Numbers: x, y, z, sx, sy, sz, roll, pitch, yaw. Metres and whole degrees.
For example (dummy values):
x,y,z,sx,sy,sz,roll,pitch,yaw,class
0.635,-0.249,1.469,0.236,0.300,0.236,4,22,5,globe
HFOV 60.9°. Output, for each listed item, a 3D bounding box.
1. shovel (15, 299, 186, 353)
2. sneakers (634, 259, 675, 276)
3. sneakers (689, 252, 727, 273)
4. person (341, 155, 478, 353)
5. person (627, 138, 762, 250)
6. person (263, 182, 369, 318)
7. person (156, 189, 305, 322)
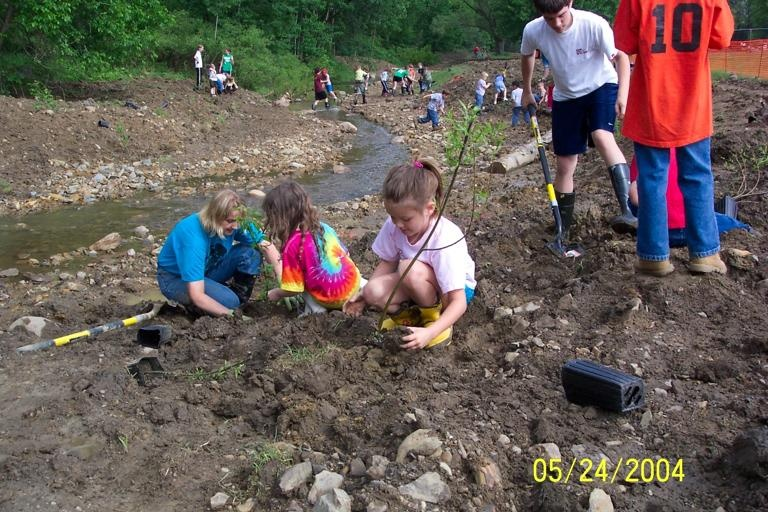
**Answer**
x,y,z,sx,sy,sz,roll,pitch,yaw,class
-2.616,0.667,6.060,1.417,0.163,0.158,-11,53,-45,shovel
2.243,0.090,5.411,0.129,0.131,0.276,-9,16,-24,sneakers
2.643,0.061,5.316,0.314,0.219,0.131,-7,5,-30,sneakers
0.275,-0.013,5.213,1.086,1.400,1.047,-14,25,-25,person
2.796,-0.346,5.773,0.823,1.112,0.426,-8,-15,16,person
-0.615,-0.086,5.890,0.926,1.150,0.758,0,15,26,person
-1.555,0.150,6.304,1.254,1.580,1.176,0,36,-10,person
